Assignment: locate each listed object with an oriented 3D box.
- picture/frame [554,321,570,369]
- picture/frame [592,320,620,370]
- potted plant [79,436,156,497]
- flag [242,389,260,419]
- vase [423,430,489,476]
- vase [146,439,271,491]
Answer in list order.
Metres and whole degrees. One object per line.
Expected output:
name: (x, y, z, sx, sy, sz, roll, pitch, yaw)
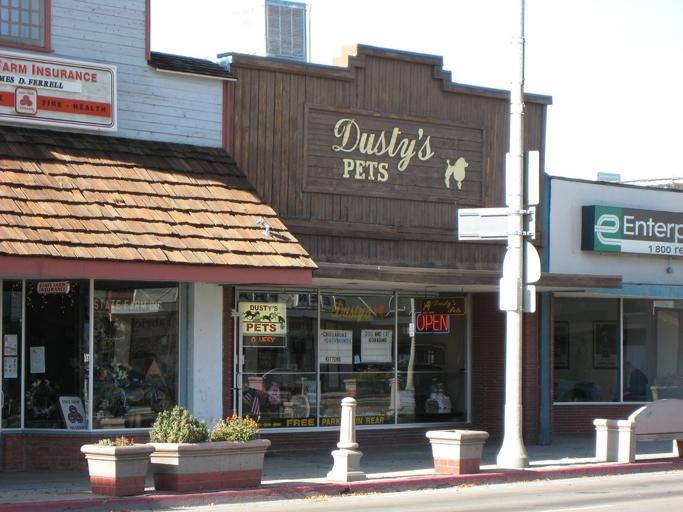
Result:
picture/frame: (5.562, 2.233, 34.112, 0.436, 1.204, 0.092, 0, -6, -19)
picture/frame: (6.729, 2.298, 34.304, 0.722, 1.301, 0.141, -3, -4, 41)
potted plant: (-3.968, 3.736, 23.859, 1.123, 0.882, 0.949, -3, -7, 42)
flag: (-1.981, 3.174, 29.011, 0.059, 0.533, 0.472, -14, -37, 29)
vase: (2.262, 3.878, 26.620, 0.865, 0.761, 1.050, 7, -8, -42)
vase: (-2.420, 3.788, 24.401, 2.028, 0.878, 0.726, -1, -6, -9)
